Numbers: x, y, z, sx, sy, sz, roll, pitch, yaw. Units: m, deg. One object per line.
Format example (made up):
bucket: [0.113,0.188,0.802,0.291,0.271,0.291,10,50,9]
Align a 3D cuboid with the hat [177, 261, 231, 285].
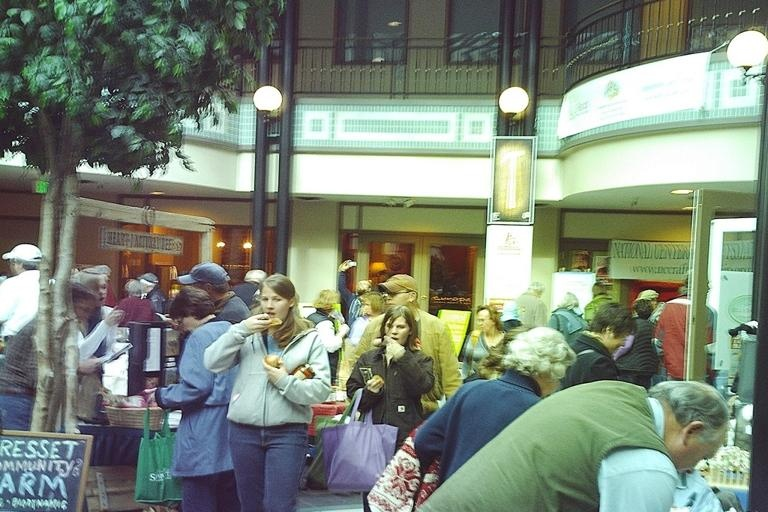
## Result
hat: [-1.686,0.153,7.927,0.336,0.147,0.223,-1,-2,-4]

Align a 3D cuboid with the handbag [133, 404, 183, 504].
handbag: [-1.908,1.753,7.256,0.383,0.859,0.491,4,-3,-14]

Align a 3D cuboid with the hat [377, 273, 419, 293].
hat: [0.157,0.277,8.266,0.264,0.141,0.182,6,-7,-17]

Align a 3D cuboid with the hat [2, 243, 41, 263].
hat: [-3.118,-0.020,7.331,0.263,0.125,0.198,2,-2,5]

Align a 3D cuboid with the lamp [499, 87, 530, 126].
lamp: [1.935,-2.302,12.853,0.496,0.647,0.528,2,-2,3]

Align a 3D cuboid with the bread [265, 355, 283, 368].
bread: [-0.869,0.837,6.691,0.100,0.088,0.151,8,-3,21]

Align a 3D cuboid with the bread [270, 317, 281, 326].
bread: [-0.866,0.531,6.785,0.092,0.072,0.132,4,-3,-8]
